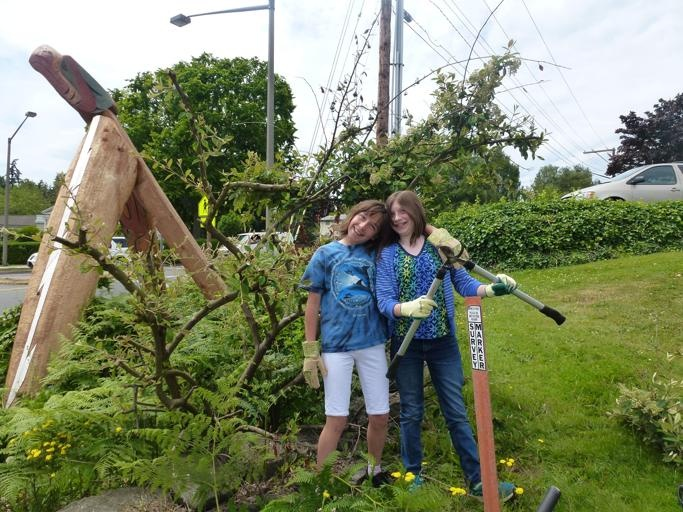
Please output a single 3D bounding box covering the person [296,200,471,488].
[{"bbox_3d":[0.109,0.780,4.286,0.914,2.532,1.036,1,-1,-10],"label":"person"}]
